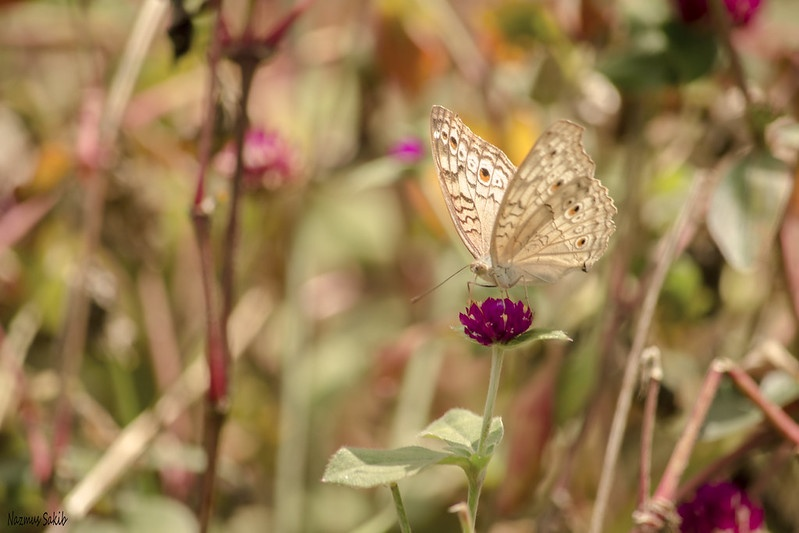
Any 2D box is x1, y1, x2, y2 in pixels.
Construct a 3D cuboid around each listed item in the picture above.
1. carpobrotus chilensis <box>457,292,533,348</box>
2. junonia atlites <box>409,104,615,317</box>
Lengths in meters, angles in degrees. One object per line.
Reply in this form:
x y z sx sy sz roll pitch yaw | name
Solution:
0.112 0.063 1.186 0.084 0.056 0.034 0 -10 7 | carpobrotus chilensis
0.155 -0.084 1.266 0.219 0.208 0.137 -1 -10 13 | junonia atlites
